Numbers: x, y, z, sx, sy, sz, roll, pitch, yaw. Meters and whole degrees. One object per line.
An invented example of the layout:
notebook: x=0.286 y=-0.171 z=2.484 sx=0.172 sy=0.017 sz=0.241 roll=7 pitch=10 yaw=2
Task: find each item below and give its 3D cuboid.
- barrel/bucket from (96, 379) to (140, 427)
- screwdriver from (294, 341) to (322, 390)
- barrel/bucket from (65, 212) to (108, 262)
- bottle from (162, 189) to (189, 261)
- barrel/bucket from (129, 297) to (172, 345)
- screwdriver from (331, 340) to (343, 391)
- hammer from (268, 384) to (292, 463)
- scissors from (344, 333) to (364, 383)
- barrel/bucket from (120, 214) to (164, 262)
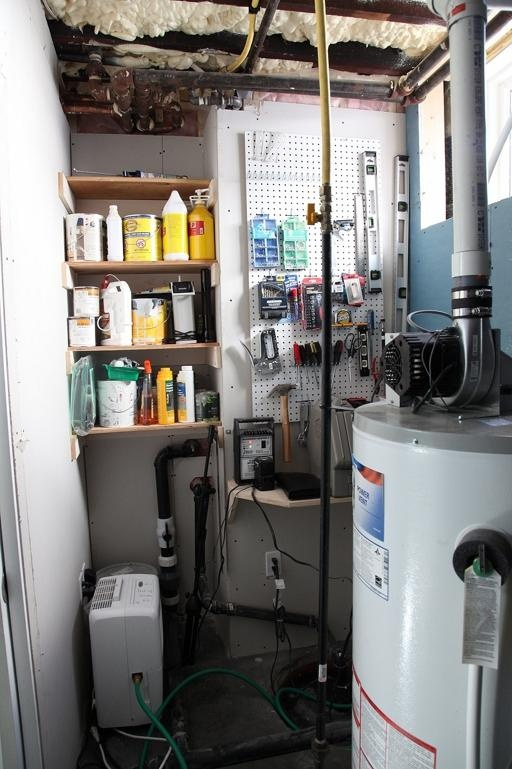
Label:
barrel/bucket: x=-0.570 y=0.071 z=2.537 sx=0.161 sy=0.195 sz=0.175 roll=-1 pitch=7 yaw=0
screwdriver: x=0.222 y=-0.082 z=2.541 sx=0.052 sy=0.175 sz=0.118 roll=-7 pitch=1 yaw=11
barrel/bucket: x=-0.641 y=-0.573 z=2.445 sx=0.164 sy=0.197 sz=0.172 roll=0 pitch=6 yaw=0
bottle: x=-0.322 y=-0.624 z=2.468 sx=0.093 sy=0.272 sz=0.081 roll=-2 pitch=6 yaw=-13
barrel/bucket: x=-0.449 y=-0.259 z=2.612 sx=0.169 sy=0.196 sz=0.178 roll=2 pitch=5 yaw=0
screwdriver: x=0.332 y=-0.084 z=2.584 sx=0.039 sy=0.196 sz=0.021 roll=-2 pitch=13 yaw=-22
hammer: x=0.104 y=0.159 z=2.552 sx=0.100 sy=0.319 sz=0.100 roll=4 pitch=8 yaw=34
scissors: x=0.406 y=-0.109 z=2.614 sx=0.089 sy=0.191 sz=0.015 roll=3 pitch=11 yaw=-5
barrel/bucket: x=-0.459 y=-0.579 z=2.513 sx=0.167 sy=0.186 sz=0.168 roll=-1 pitch=1 yaw=0
